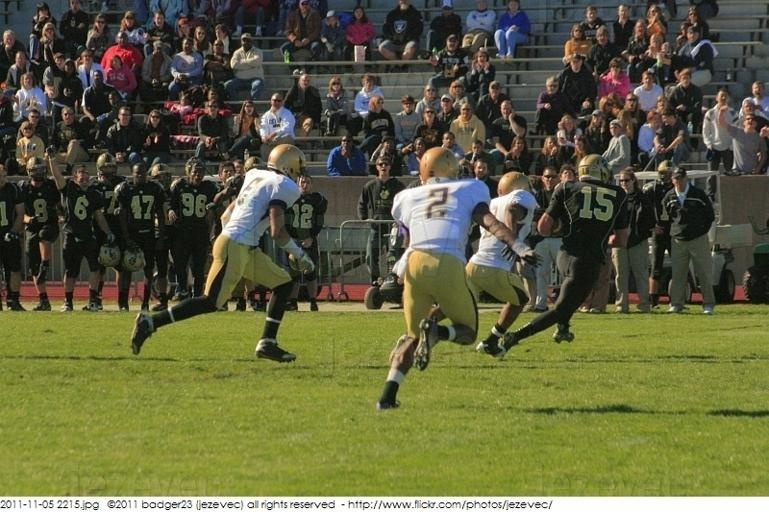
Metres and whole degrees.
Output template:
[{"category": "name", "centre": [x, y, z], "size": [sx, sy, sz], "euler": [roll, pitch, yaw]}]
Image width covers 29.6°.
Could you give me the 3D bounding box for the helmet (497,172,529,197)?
[{"category": "helmet", "centre": [1.781, -1.006, 19.807], "size": [0.380, 0.352, 0.296], "euler": [-33, 43, -29]}]

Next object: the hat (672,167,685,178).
[{"category": "hat", "centre": [4.671, -1.339, 23.083], "size": [0.201, 0.147, 0.269], "euler": [2, 14, 9]}]

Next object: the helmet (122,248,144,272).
[{"category": "helmet", "centre": [-4.006, 0.069, 23.170], "size": [0.278, 0.352, 0.354], "euler": [-1, 2, -3]}]

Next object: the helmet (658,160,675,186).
[{"category": "helmet", "centre": [4.536, -1.353, 23.495], "size": [0.229, 0.357, 0.435], "euler": [1, 14, 8]}]

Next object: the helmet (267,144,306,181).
[{"category": "helmet", "centre": [-1.323, -1.270, 19.269], "size": [0.535, 0.452, 0.404], "euler": [5, 4, -29]}]

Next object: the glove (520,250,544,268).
[{"category": "glove", "centre": [1.775, 0.027, 17.660], "size": [0.263, 0.246, 0.247], "euler": [1, 13, 6]}]

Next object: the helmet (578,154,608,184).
[{"category": "helmet", "centre": [2.900, -1.224, 20.341], "size": [0.337, 0.385, 0.426], "euler": [4, 11, 29]}]

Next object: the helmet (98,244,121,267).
[{"category": "helmet", "centre": [-4.415, 0.006, 23.265], "size": [0.391, 0.397, 0.231], "euler": [4, 14, 18]}]
